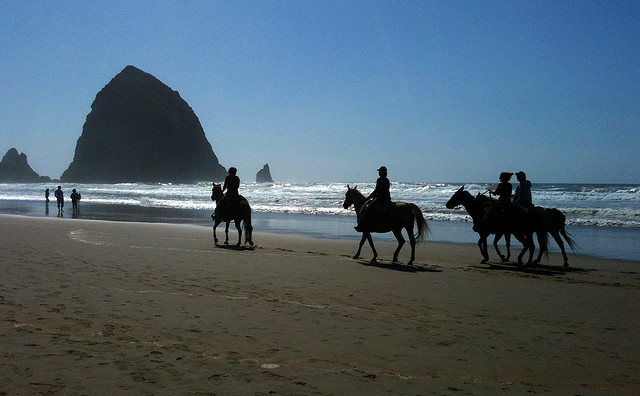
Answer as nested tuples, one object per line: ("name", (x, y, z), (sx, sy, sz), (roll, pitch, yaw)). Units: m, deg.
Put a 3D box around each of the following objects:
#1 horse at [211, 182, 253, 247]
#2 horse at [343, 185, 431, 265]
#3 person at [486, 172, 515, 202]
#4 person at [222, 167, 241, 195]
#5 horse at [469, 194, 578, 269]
("horse", (-3.362, 0.655, 17.987), (0.965, 2.176, 3.198), (0, 4, -38))
("horse", (1.987, 0.841, 15.092), (3.389, 2.338, 0.937), (3, 3, 42))
("person", (5.673, -0.359, 14.781), (0.661, 1.088, 1.238), (9, 15, 21))
("person", (-3.224, -0.637, 17.198), (0.590, 1.129, 1.193), (0, 14, -11))
("horse", (6.837, 1.170, 16.482), (0.927, 2.500, 3.841), (17, -12, -28))
